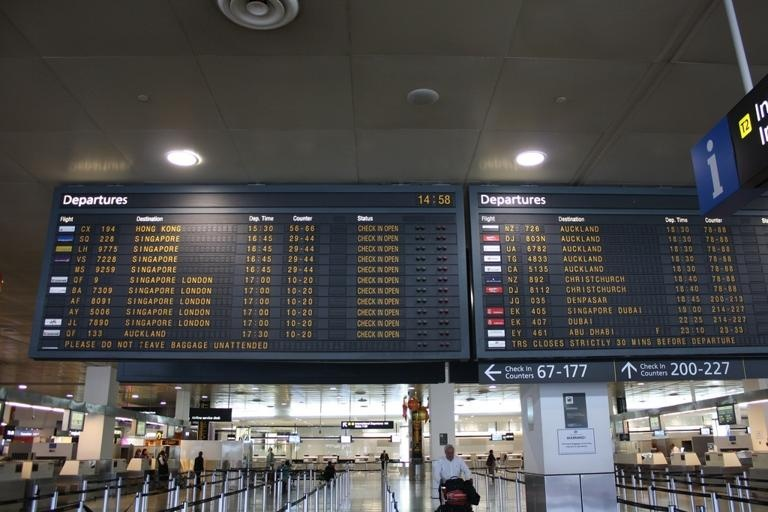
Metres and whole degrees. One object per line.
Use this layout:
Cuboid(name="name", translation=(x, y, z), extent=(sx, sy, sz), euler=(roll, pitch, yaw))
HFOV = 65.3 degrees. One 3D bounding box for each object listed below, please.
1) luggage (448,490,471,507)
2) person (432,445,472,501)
Cuboid(name="luggage", translation=(1.131, 3.739, 9.246), extent=(0.397, 0.201, 0.246), euler=(4, -18, -13))
Cuboid(name="person", translation=(1.086, 3.603, 9.894), extent=(0.648, 0.758, 0.471), euler=(4, -2, -20))
